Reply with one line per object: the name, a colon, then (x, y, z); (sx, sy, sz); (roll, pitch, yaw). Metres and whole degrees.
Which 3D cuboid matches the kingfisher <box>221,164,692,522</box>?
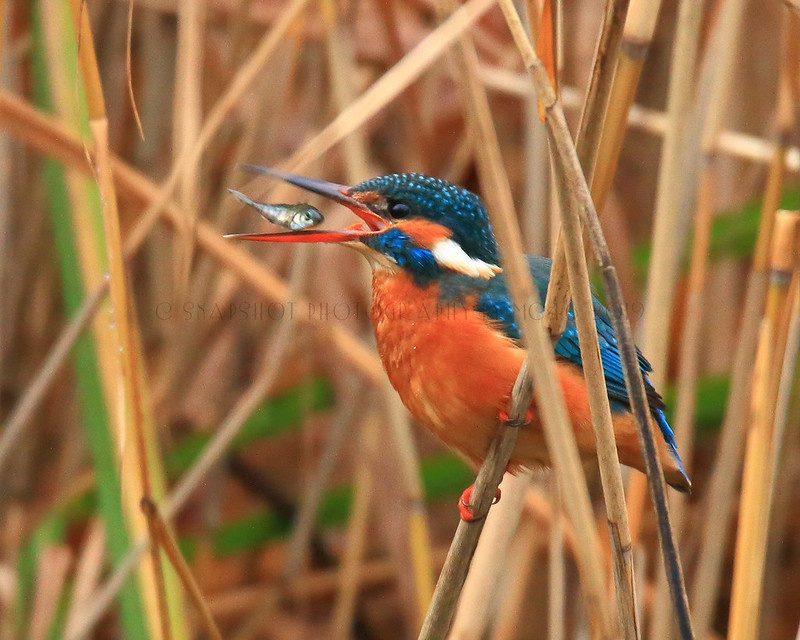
kingfisher: (0.180, 0.039, 2.885); (0.884, 0.700, 0.427); (0, 3, -3)
